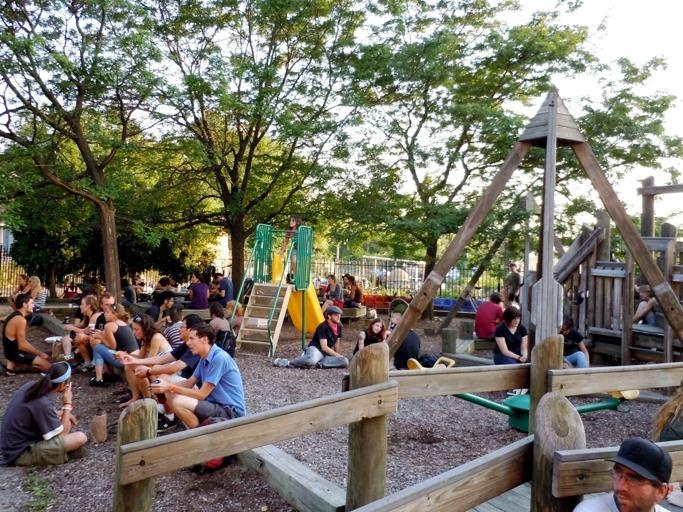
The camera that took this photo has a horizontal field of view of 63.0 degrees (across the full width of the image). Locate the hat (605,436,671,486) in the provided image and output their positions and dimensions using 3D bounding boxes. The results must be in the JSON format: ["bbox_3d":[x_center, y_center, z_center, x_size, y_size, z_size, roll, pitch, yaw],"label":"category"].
[{"bbox_3d":[2.140,1.462,4.019,0.404,0.203,0.285,24,-7,-24],"label":"hat"}]

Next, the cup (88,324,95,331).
[{"bbox_3d":[-4.386,1.253,9.788,0.116,0.123,0.117,0,-6,0],"label":"cup"}]

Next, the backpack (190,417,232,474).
[{"bbox_3d":[-1.467,2.145,6.383,0.429,0.597,0.281,4,-4,-12],"label":"backpack"}]
